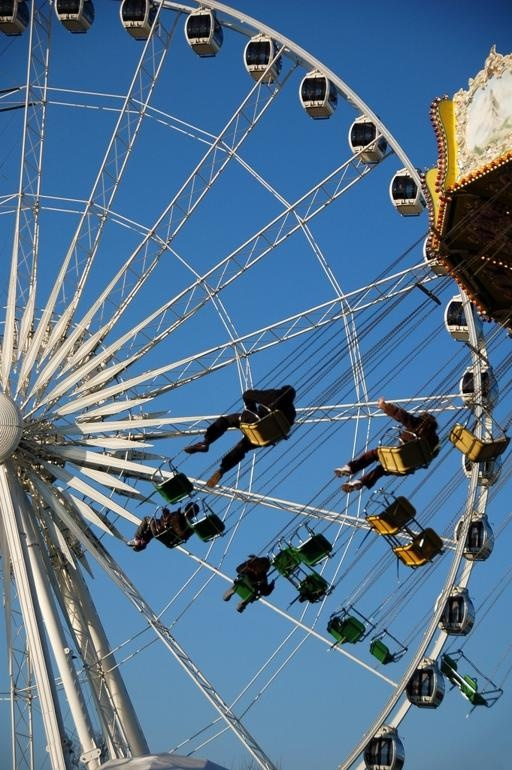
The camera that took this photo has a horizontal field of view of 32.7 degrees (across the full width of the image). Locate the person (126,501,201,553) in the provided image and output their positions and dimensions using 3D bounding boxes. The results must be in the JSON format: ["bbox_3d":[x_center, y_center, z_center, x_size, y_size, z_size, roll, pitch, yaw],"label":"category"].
[{"bbox_3d":[-1.928,3.084,18.464,1.900,0.645,0.704,-33,-45,22],"label":"person"}]

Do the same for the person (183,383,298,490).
[{"bbox_3d":[-0.040,0.759,16.858,1.616,2.507,1.102,-21,-73,24],"label":"person"}]

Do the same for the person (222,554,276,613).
[{"bbox_3d":[-0.111,4.143,18.176,1.367,1.122,0.421,-42,-76,-13],"label":"person"}]

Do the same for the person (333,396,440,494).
[{"bbox_3d":[2.143,1.001,13.566,1.728,1.470,0.978,-24,-80,13],"label":"person"}]
